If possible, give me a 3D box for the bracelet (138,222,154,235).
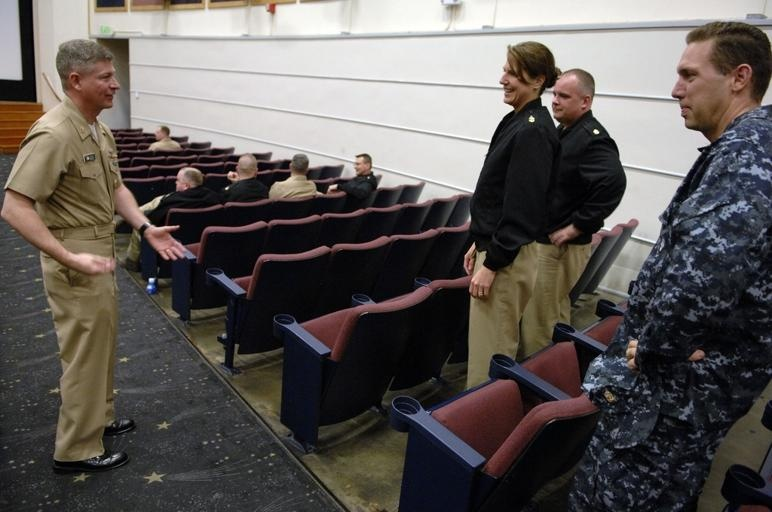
[{"bbox_3d":[-1.350,-0.152,2.708,0.072,0.067,0.048,14,48,-21],"label":"bracelet"}]

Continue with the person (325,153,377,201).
[{"bbox_3d":[-0.397,-0.827,5.934,0.478,0.828,0.581,3,5,-18],"label":"person"}]

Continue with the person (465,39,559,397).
[{"bbox_3d":[0.627,-0.173,2.541,0.401,1.816,0.603,11,17,18],"label":"person"}]

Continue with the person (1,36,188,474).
[{"bbox_3d":[-1.496,-0.006,2.460,0.569,2.060,0.680,6,16,1],"label":"person"}]

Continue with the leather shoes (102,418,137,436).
[{"bbox_3d":[-1.473,0.937,2.666,0.144,0.064,0.063,-12,17,-28],"label":"leather shoes"}]
